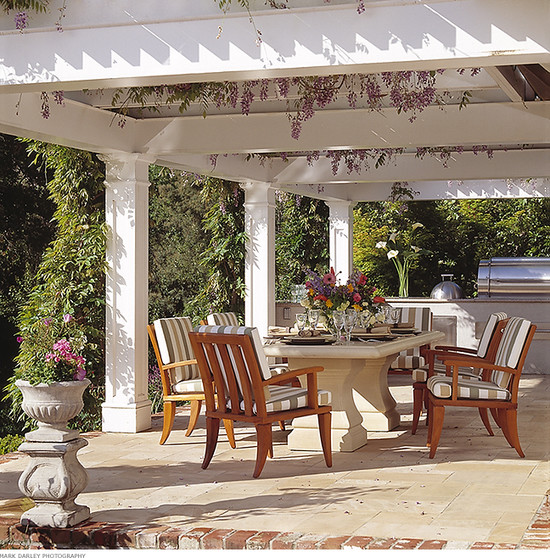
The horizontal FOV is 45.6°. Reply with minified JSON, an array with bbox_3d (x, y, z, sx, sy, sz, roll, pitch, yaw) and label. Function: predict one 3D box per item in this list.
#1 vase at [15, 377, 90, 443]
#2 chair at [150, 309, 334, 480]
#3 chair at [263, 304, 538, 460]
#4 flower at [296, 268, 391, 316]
[{"bbox_3d":[-1.040,0.619,3.174,0.378,0.260,0.335,-1,-6,5],"label":"vase"},{"bbox_3d":[-0.234,0.884,4.779,0.563,0.749,1.284,-2,2,-39],"label":"chair"},{"bbox_3d":[0.978,0.732,4.948,1.743,0.875,1.107,0,-3,15],"label":"chair"},{"bbox_3d":[0.543,0.129,5.505,0.508,0.319,0.471,6,7,5],"label":"flower"}]
